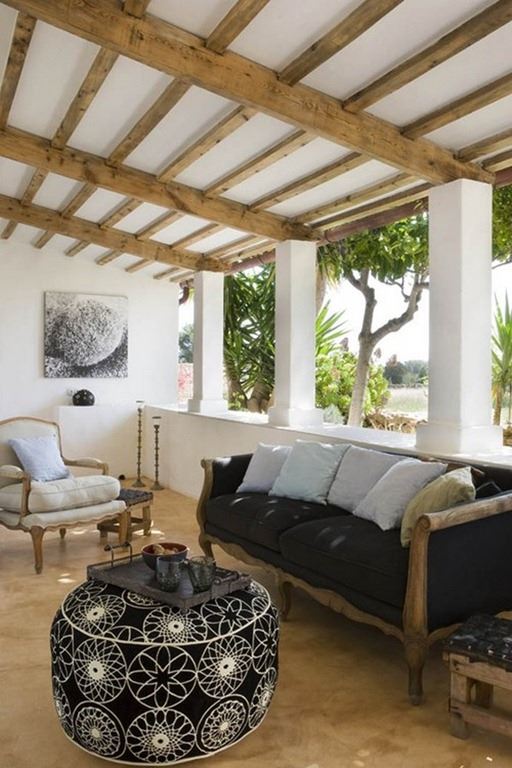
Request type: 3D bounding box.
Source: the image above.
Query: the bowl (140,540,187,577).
[{"bbox_3d":[-0.345,0.649,2.083,0.115,0.056,0.114,0,-5,0],"label":"bowl"}]

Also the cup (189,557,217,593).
[{"bbox_3d":[-0.179,0.647,1.901,0.096,0.091,0.087,1,1,0],"label":"cup"}]

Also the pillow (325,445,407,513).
[{"bbox_3d":[0.603,0.507,3.079,0.105,0.337,0.354,30,-6,-21],"label":"pillow"}]

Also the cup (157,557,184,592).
[{"bbox_3d":[-0.294,0.651,1.893,0.090,0.087,0.094,2,-15,0],"label":"cup"}]

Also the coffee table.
[{"bbox_3d":[-0.294,0.900,1.734,0.726,0.390,0.412,0,-1,0],"label":"coffee table"}]

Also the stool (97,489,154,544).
[{"bbox_3d":[-1.019,1.021,4.538,0.391,0.438,0.474,1,-2,-42],"label":"stool"}]

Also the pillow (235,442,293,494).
[{"bbox_3d":[0.057,0.540,3.604,0.095,0.295,0.310,32,0,-27],"label":"pillow"}]

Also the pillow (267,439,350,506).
[{"bbox_3d":[0.322,0.510,3.307,0.110,0.346,0.365,40,-20,-34],"label":"pillow"}]
